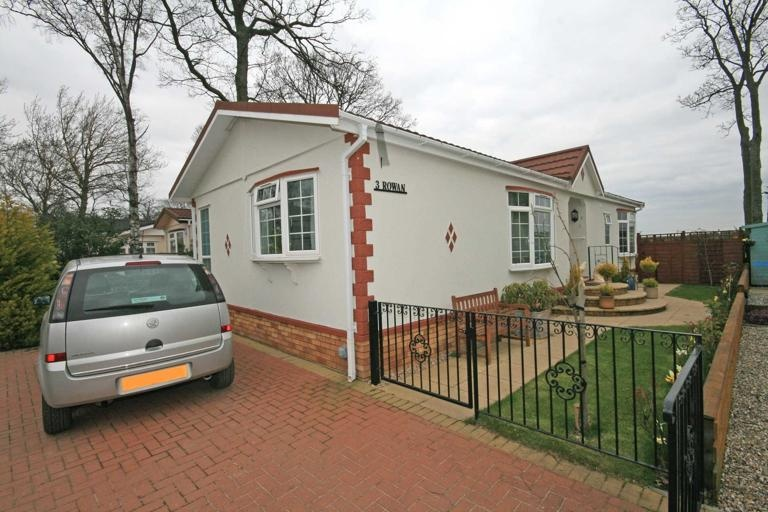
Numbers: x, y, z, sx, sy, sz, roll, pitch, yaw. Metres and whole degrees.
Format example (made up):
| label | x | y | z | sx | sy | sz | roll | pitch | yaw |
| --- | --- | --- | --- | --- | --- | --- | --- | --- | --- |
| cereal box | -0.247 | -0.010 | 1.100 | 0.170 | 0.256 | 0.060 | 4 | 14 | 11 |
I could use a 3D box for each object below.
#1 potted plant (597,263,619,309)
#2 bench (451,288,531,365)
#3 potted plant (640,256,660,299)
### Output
| label | x | y | z | sx | sy | sz | roll | pitch | yaw |
| --- | --- | --- | --- | --- | --- | --- | --- | --- | --- |
| potted plant | 7.331 | 0.961 | 15.135 | 0.492 | 1.315 | 2.013 | 0 | 2 | 26 |
| bench | 2.730 | 1.707 | 11.571 | 1.061 | 1.555 | 2.484 | -3 | -1 | 38 |
| potted plant | 10.141 | 0.876 | 17.636 | 0.754 | 1.618 | 0.707 | -10 | -13 | 37 |
